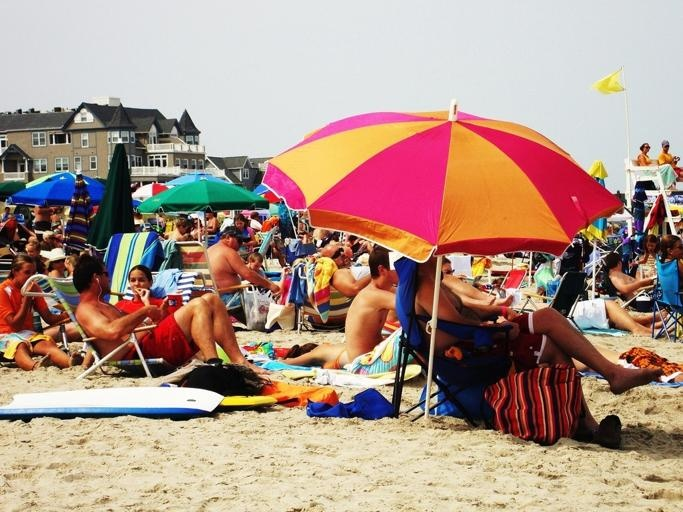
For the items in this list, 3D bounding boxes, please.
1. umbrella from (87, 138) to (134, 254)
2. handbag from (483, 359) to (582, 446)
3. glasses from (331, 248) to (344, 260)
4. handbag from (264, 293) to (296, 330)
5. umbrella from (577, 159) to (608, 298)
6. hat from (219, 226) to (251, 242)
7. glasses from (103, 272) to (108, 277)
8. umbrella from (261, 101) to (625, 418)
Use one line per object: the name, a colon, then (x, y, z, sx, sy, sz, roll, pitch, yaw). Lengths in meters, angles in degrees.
umbrella: (-2.721, -0.808, 12.372, 0.535, 1.080, 0.445, -1, 9, -33)
handbag: (1.546, 1.173, 8.053, 0.658, 0.718, 0.941, -1, -4, -10)
glasses: (-0.042, -0.034, 12.547, 0.033, 0.119, 0.128, 29, 9, 20)
handbag: (-0.732, 0.688, 12.396, 0.343, 0.311, 0.267, -11, 17, -42)
umbrella: (4.185, -0.421, 16.574, 0.516, 2.485, 0.521, -1, 20, 5)
hat: (-1.648, -0.347, 15.863, 0.521, 0.236, 0.357, 9, -1, 4)
glasses: (-2.215, 0.156, 9.515, 0.045, 0.053, 0.045, -9, -16, 16)
umbrella: (0.757, -0.611, 7.670, 2.482, 1.074, 1.188, 1, 11, 2)
